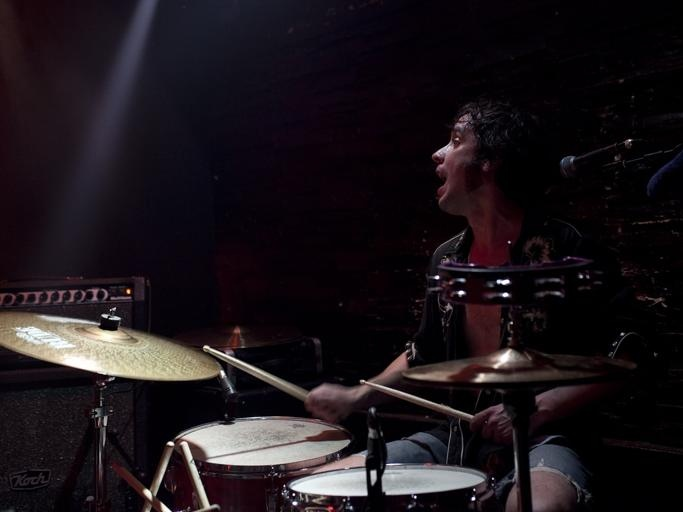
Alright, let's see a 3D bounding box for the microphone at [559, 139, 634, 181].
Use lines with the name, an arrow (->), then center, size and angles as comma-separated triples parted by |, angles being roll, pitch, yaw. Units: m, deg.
microphone -> 0.968, -0.371, 2.267 | 0.256, 0.126, 0.189 | -2, -3, 32
